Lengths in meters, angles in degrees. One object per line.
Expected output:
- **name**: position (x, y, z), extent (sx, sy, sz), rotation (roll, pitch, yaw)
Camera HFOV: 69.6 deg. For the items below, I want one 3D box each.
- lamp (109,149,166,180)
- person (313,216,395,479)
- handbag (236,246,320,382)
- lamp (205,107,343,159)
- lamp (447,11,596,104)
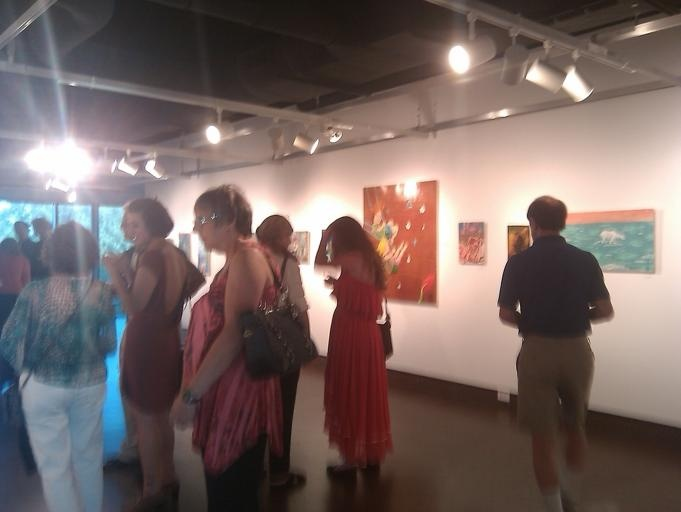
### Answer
- **lamp**: position (-3.431, -1.545, 8.340), extent (0.881, 0.400, 0.940), rotation (1, 0, -2)
- **person**: position (0.150, 0.756, 4.155), extent (0.574, 2.186, 0.266), rotation (-1, 3, 0)
- **handbag**: position (-0.342, 0.384, 2.794), extent (0.232, 0.573, 0.453), rotation (1, 4, 32)
- **lamp**: position (-0.595, -1.750, 7.059), extent (1.547, 0.654, 2.897), rotation (-1, 4, 1)
- **lamp**: position (1.776, -1.910, 4.652), extent (1.163, 0.409, 0.495), rotation (29, -32, -4)
